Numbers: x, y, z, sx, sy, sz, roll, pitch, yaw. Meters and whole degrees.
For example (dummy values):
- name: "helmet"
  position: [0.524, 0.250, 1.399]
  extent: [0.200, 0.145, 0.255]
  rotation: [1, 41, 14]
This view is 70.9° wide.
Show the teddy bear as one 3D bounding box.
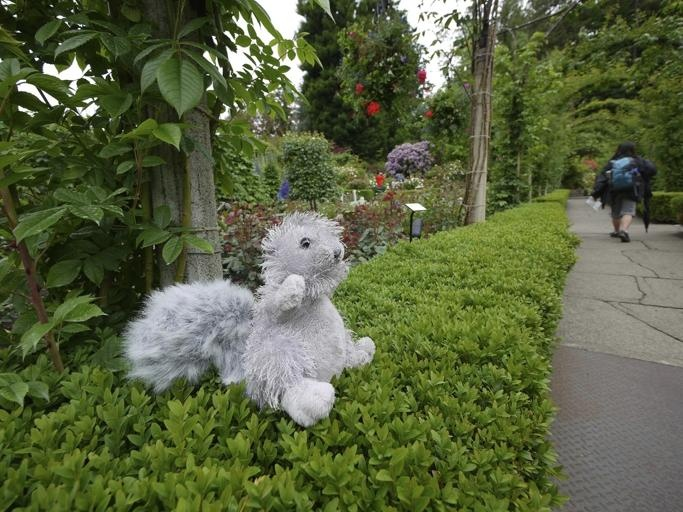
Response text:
- name: "teddy bear"
  position: [-0.392, 0.328, 2.569]
  extent: [1.012, 0.791, 1.105]
  rotation: [0, -4, 12]

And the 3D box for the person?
- name: "person"
  position: [5.089, -1.175, 8.540]
  extent: [1.162, 1.563, 0.998]
  rotation: [6, 3, -5]

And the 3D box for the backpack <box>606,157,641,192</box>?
- name: "backpack"
  position: [4.872, -1.401, 8.195]
  extent: [0.636, 0.707, 0.417]
  rotation: [3, 5, 43]
